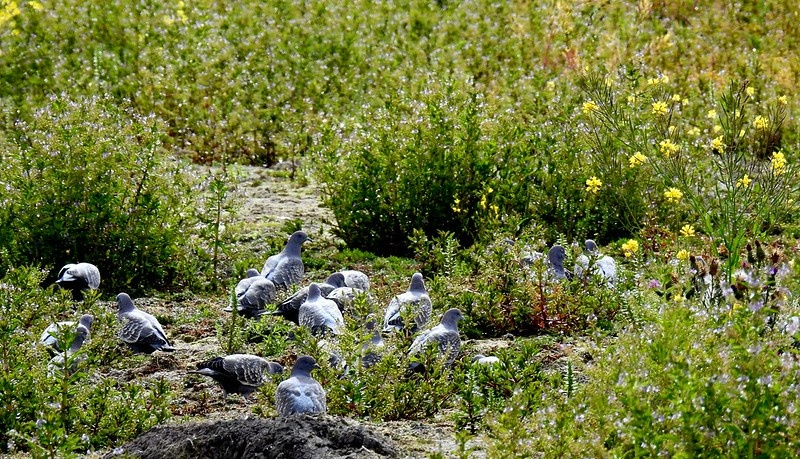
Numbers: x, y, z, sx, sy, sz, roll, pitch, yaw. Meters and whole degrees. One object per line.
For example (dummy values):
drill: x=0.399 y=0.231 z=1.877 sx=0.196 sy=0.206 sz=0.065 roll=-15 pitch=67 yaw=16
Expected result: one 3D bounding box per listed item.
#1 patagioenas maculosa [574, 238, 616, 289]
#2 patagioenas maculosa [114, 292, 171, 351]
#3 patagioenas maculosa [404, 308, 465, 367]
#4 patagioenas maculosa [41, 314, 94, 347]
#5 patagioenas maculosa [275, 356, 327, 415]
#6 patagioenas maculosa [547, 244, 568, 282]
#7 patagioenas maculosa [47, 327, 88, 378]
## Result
patagioenas maculosa: x=2.620 y=0.459 z=16.523 sx=0.394 sy=0.443 sz=0.690 roll=-3 pitch=16 yaw=-8
patagioenas maculosa: x=-3.336 y=1.222 z=15.812 sx=0.667 sy=0.684 sz=0.577 roll=-6 pitch=25 yaw=-14
patagioenas maculosa: x=0.408 y=1.392 z=15.224 sx=0.919 sy=0.711 sz=0.506 roll=-10 pitch=11 yaw=-31
patagioenas maculosa: x=-4.141 y=1.253 z=15.672 sx=0.532 sy=0.381 sz=0.301 roll=-14 pitch=40 yaw=6
patagioenas maculosa: x=-1.171 y=1.858 z=14.314 sx=0.496 sy=0.762 sz=0.760 roll=-4 pitch=2 yaw=17
patagioenas maculosa: x=2.115 y=0.468 z=16.374 sx=0.284 sy=0.426 sz=0.540 roll=3 pitch=24 yaw=7
patagioenas maculosa: x=-4.067 y=1.481 z=14.823 sx=0.337 sy=0.560 sz=0.932 roll=23 pitch=-2 yaw=4
